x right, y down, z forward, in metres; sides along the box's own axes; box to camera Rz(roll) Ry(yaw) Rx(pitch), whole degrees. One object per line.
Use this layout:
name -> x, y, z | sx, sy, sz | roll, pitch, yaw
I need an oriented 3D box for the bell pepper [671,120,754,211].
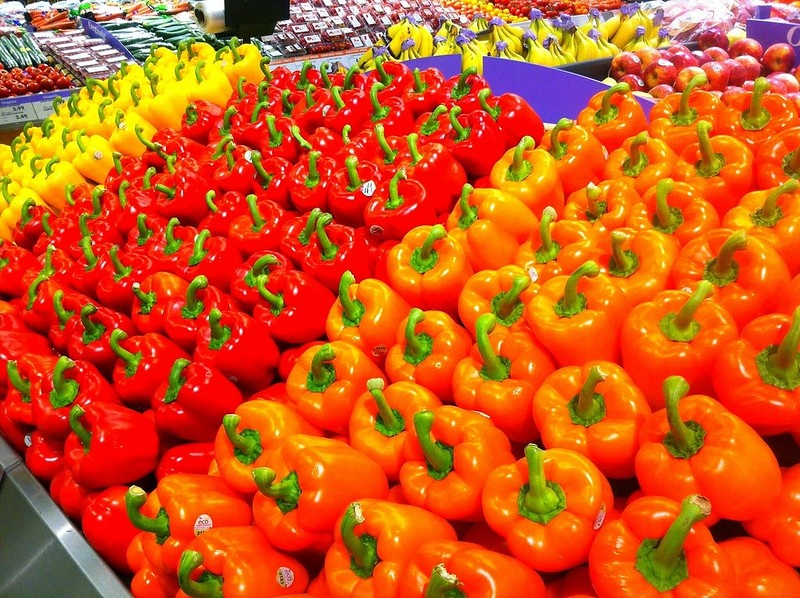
bell pepper -> 1.645, -0.675, 3.274 | 0.311, 0.417, 0.304 | -42, 52, 0
